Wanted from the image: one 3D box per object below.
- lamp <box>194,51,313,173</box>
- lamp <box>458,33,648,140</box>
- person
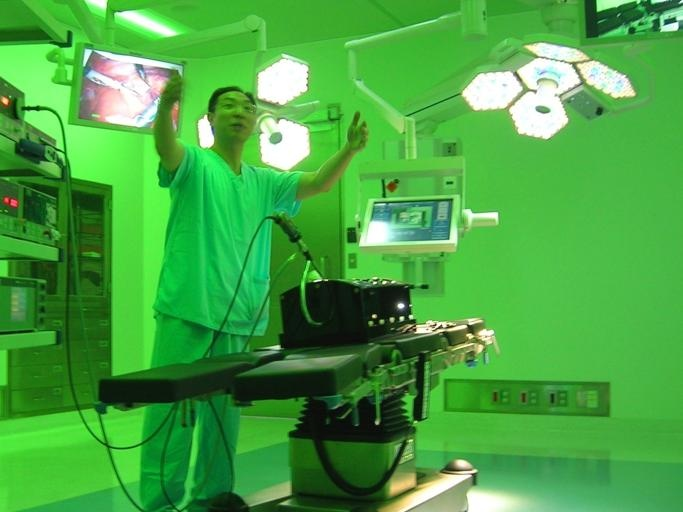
[{"bbox_3d":[-0.508,-0.892,3.899,1.024,0.587,0.344,-8,29,-36],"label":"lamp"},{"bbox_3d":[1.084,-0.870,3.374,0.675,0.359,0.781,0,-1,-32],"label":"lamp"},{"bbox_3d":[-0.457,0.162,2.961,0.860,1.912,0.580,0,-2,-21],"label":"person"}]
